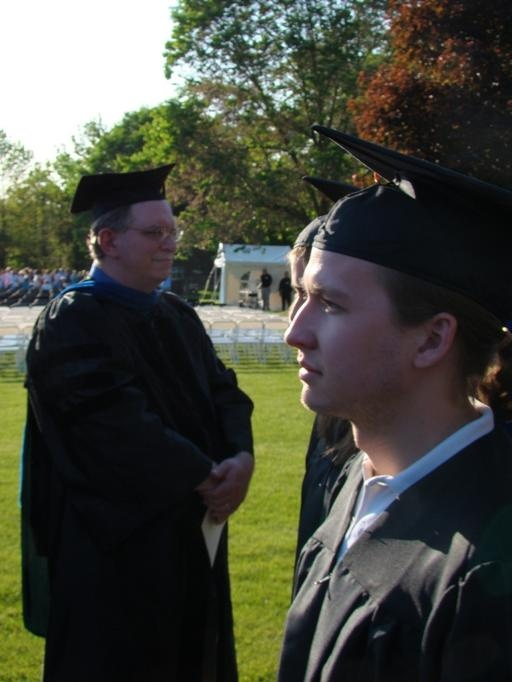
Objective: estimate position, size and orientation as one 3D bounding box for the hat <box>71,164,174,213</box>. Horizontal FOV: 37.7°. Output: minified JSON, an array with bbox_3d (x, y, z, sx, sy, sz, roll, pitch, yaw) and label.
[{"bbox_3d":[-0.554,-0.618,3.055,0.310,0.070,0.284,-6,-3,-8],"label":"hat"}]
